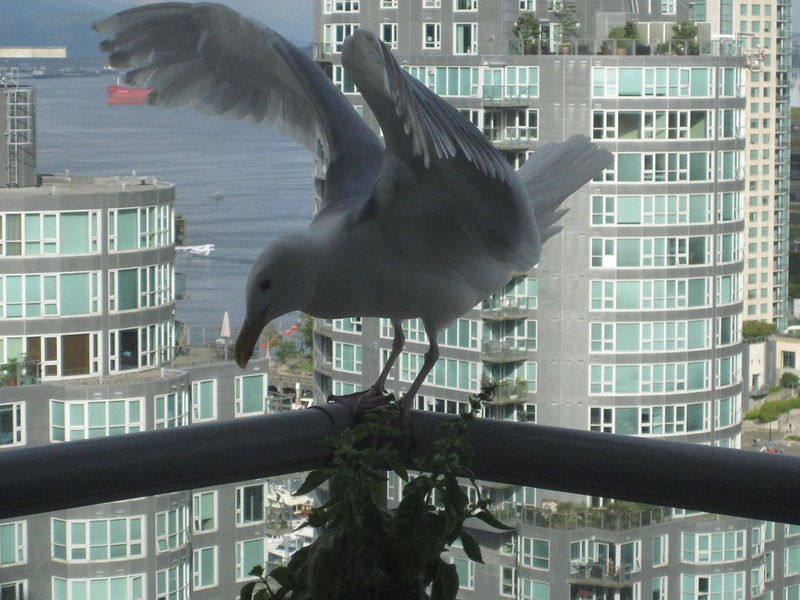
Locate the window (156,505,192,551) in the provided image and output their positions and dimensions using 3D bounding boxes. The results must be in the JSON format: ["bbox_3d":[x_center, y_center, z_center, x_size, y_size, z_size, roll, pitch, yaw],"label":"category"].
[{"bbox_3d":[-6.101,5.983,74.130,1.711,1.123,0.113,-8,-9,36],"label":"window"}]

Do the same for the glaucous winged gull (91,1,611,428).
[{"bbox_3d":[-1.470,-2.610,71.271,9.687,10.028,2.230,-1,6,-6],"label":"glaucous winged gull"}]

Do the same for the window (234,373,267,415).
[{"bbox_3d":[-5.001,2.986,90.340,1.210,1.539,0.216,14,-19,-41],"label":"window"}]

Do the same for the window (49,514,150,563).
[{"bbox_3d":[-8.228,6.339,73.958,2.861,1.191,0.694,2,-11,-30],"label":"window"}]
